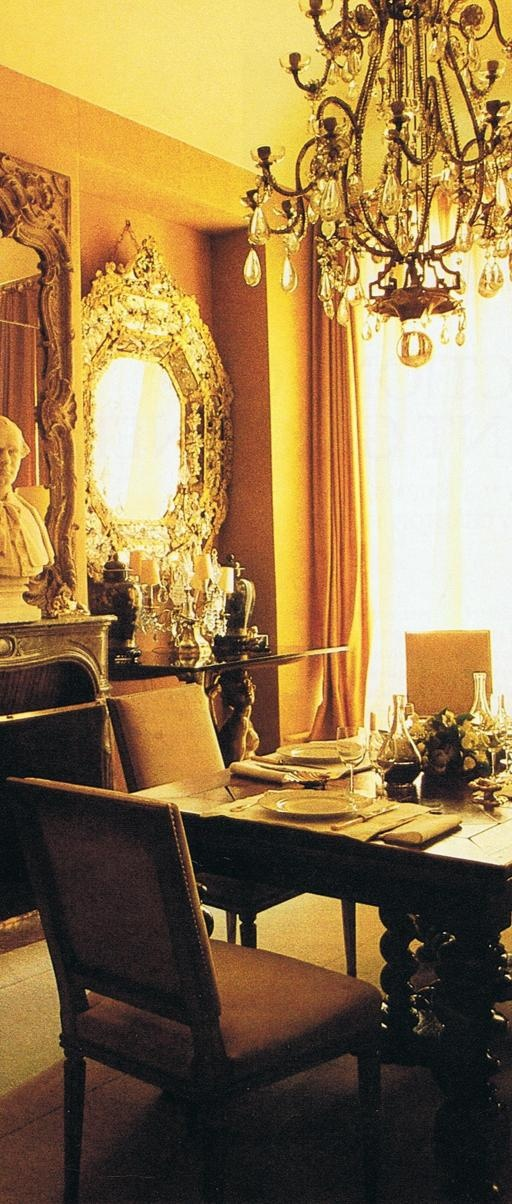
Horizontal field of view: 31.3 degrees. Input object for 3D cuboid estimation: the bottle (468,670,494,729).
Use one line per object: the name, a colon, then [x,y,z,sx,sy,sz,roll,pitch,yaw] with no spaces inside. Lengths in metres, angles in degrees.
bottle: [0.496,0.220,2.027,0.075,0.111,0.096,-3,-15,9]

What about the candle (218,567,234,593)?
candle: [-0.152,-0.106,4.225,0.081,0.167,0.094,0,1,-11]

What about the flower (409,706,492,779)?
flower: [0.429,0.319,2.054,0.131,0.116,0.147,17,10,-1]

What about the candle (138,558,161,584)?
candle: [-0.487,-0.139,4.130,0.082,0.105,0.158,-4,6,-10]

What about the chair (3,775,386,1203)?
chair: [-0.082,0.628,1.534,0.565,0.752,0.363,-6,6,-29]

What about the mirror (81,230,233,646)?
mirror: [-0.486,-0.827,4.619,0.131,1.923,1.140,1,7,32]
